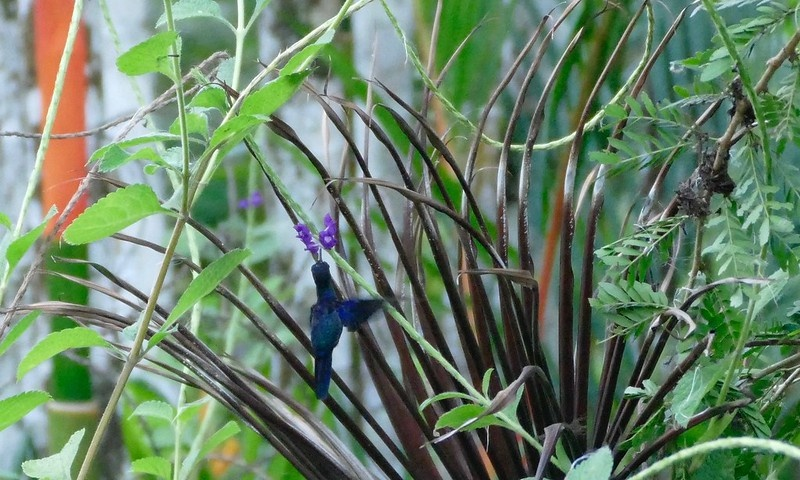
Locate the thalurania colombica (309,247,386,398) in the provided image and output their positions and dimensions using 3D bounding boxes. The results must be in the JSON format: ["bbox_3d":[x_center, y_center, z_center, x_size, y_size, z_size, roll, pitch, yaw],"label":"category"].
[{"bbox_3d":[-0.079,0.095,1.056,0.108,0.082,0.129,-1,36,2],"label":"thalurania colombica"}]
